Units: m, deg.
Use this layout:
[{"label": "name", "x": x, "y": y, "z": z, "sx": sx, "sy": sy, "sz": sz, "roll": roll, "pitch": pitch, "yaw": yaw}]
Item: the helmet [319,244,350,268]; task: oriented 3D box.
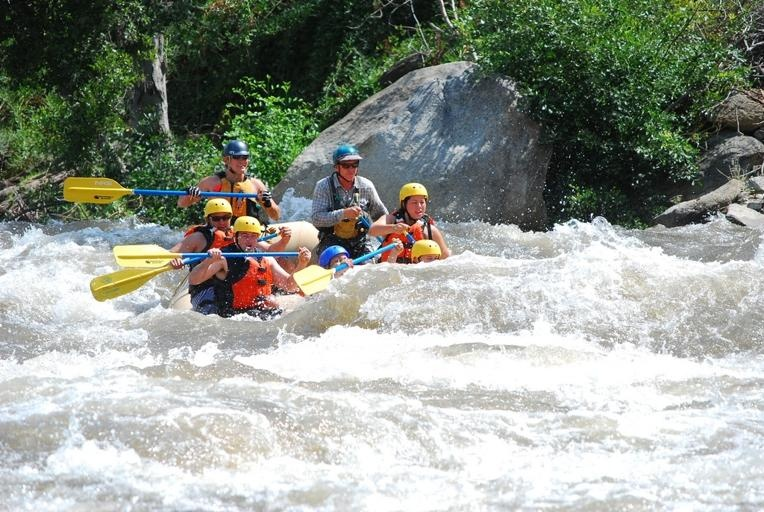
[{"label": "helmet", "x": -0.589, "y": 0.020, "z": 11.311, "sx": 0.242, "sy": 0.311, "sz": 0.229, "roll": 48, "pitch": 32, "yaw": 10}]

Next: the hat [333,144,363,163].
[{"label": "hat", "x": -0.442, "y": -1.238, "z": 11.467, "sx": 0.218, "sy": 0.153, "sz": 0.289, "roll": -3, "pitch": 3, "yaw": -38}]

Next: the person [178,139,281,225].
[{"label": "person", "x": -1.910, "y": -0.502, "z": 12.061, "sx": 1.170, "sy": 1.855, "sz": 0.601, "roll": 1, "pitch": -2, "yaw": -7}]

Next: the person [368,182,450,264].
[{"label": "person", "x": 0.271, "y": -0.398, "z": 11.644, "sx": 0.870, "sy": 1.193, "sz": 0.667, "roll": 5, "pitch": -25, "yaw": -12}]

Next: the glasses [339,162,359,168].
[{"label": "glasses", "x": -0.404, "y": -1.099, "z": 11.467, "sx": 0.204, "sy": 0.083, "sz": 0.091, "roll": 3, "pitch": 9, "yaw": -23}]

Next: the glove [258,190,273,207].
[{"label": "glove", "x": -1.442, "y": -0.730, "z": 11.961, "sx": 0.134, "sy": 0.179, "sz": 0.068, "roll": -17, "pitch": 20, "yaw": 8}]

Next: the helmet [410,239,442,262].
[{"label": "helmet", "x": 0.477, "y": -0.061, "z": 10.803, "sx": 0.294, "sy": 0.270, "sz": 0.224, "roll": 3, "pitch": 3, "yaw": 23}]

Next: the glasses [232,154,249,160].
[{"label": "glasses", "x": -1.765, "y": -1.254, "z": 12.010, "sx": 0.211, "sy": 0.060, "sz": 0.086, "roll": -1, "pitch": 11, "yaw": -42}]

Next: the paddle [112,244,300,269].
[{"label": "paddle", "x": -2.114, "y": 0.033, "z": 10.693, "sx": 1.699, "sy": 0.335, "sz": 0.076, "roll": 4, "pitch": -31, "yaw": -9}]

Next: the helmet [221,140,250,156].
[{"label": "helmet", "x": -1.838, "y": -1.371, "z": 12.067, "sx": 0.218, "sy": 0.206, "sz": 0.275, "roll": -4, "pitch": 20, "yaw": -44}]

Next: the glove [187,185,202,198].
[{"label": "glove", "x": -2.313, "y": -0.799, "z": 11.823, "sx": 0.171, "sy": 0.149, "sz": 0.308, "roll": 4, "pitch": 8, "yaw": -12}]

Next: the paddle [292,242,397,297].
[{"label": "paddle", "x": -0.322, "y": 0.182, "z": 11.031, "sx": 1.685, "sy": 0.073, "sz": 0.445, "roll": -22, "pitch": 56, "yaw": -35}]

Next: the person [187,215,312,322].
[{"label": "person", "x": -1.472, "y": 0.379, "z": 10.950, "sx": 1.416, "sy": 1.624, "sz": 0.914, "roll": 2, "pitch": -3, "yaw": -23}]
